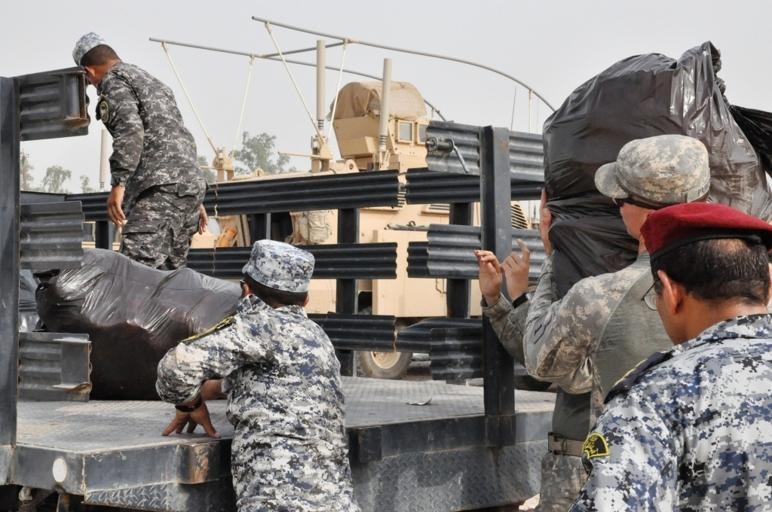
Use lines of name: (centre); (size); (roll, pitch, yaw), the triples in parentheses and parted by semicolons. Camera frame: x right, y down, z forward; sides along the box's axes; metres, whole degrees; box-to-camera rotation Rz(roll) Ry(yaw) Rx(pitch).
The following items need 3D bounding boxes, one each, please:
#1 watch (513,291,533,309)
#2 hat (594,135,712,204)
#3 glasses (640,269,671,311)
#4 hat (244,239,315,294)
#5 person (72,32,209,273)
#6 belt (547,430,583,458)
watch: (0.690, 0.221, 5.912); (0.074, 0.082, 0.080); (-30, 1, 29)
hat: (1.108, -0.374, 4.930); (0.396, 0.294, 0.169); (18, -49, 29)
glasses: (1.032, 0.135, 4.389); (0.040, 0.134, 0.134); (4, -10, 26)
hat: (-0.502, 0.054, 5.468); (0.231, 0.150, 0.297); (18, -1, -40)
person: (-1.522, -0.634, 7.262); (0.442, 1.462, 0.917); (-9, -17, 30)
belt: (0.847, 0.898, 5.522); (0.155, 0.055, 0.108); (6, -4, -41)
